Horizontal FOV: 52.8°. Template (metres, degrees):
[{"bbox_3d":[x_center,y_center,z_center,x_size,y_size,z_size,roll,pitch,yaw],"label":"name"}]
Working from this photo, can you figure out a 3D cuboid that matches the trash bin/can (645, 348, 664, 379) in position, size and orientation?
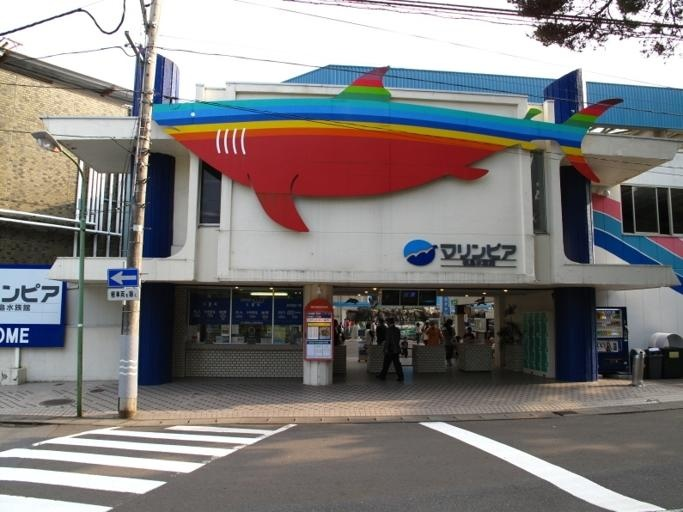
[{"bbox_3d":[10.842,3.715,23.803,0.699,0.984,0.341,-1,3,-20],"label":"trash bin/can"}]

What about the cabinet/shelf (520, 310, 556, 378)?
[{"bbox_3d":[7.003,3.117,24.226,0.727,1.968,2.011,2,-16,-1],"label":"cabinet/shelf"}]
